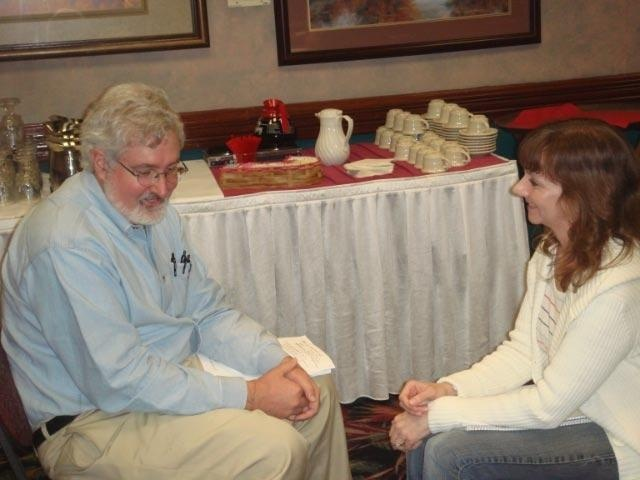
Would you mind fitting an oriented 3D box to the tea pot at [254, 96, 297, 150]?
[{"bbox_3d":[-0.272,-0.639,3.046,0.231,0.257,0.258,-11,24,-27],"label":"tea pot"}]

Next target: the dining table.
[{"bbox_3d":[0.214,-0.097,3.076,1.958,0.985,1.258,-5,26,-4],"label":"dining table"}]

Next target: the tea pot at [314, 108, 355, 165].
[{"bbox_3d":[0.087,-0.530,2.910,0.217,0.263,0.168,13,29,35],"label":"tea pot"}]

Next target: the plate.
[{"bbox_3d":[0.761,-0.549,2.963,0.209,0.156,0.306,-13,28,-30],"label":"plate"}]
